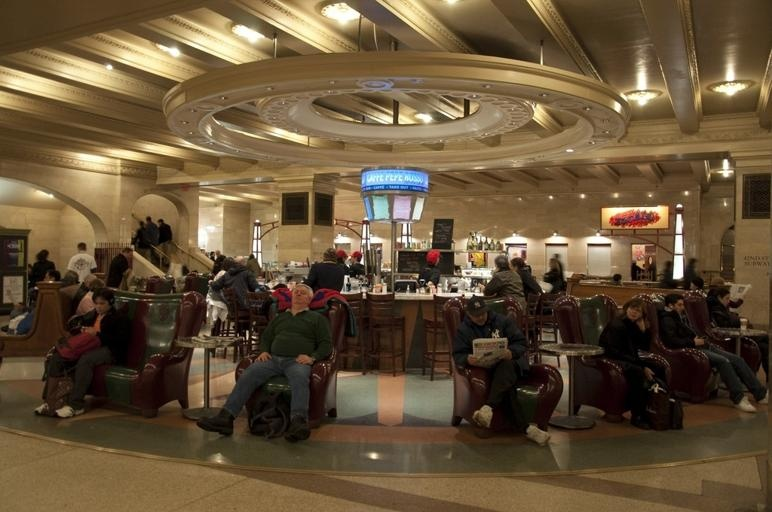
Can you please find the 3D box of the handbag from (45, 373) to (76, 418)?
[{"bbox_3d":[-3.926,1.695,6.387,0.459,0.460,0.288,10,-23,-32],"label":"handbag"}]

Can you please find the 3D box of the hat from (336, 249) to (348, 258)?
[{"bbox_3d":[-0.803,-0.047,10.079,0.250,0.114,0.170,-3,9,-34],"label":"hat"}]

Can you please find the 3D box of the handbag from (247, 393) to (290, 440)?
[{"bbox_3d":[-1.315,1.774,5.956,0.521,0.445,0.204,1,-20,17],"label":"handbag"}]

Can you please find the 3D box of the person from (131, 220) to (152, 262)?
[{"bbox_3d":[-8.963,-0.487,19.394,0.570,1.098,0.735,-7,12,-41],"label":"person"}]

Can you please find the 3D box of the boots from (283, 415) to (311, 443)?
[{"bbox_3d":[-0.964,1.886,5.823,0.241,0.221,0.235,0,9,-2],"label":"boots"}]

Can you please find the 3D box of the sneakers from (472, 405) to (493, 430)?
[{"bbox_3d":[1.055,1.740,5.738,0.174,0.240,0.213,4,9,17],"label":"sneakers"}]

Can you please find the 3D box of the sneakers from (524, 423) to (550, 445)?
[{"bbox_3d":[1.629,1.937,5.788,0.258,0.174,0.099,19,-27,47],"label":"sneakers"}]

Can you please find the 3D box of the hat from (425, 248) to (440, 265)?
[{"bbox_3d":[0.893,0.028,10.399,0.306,0.281,0.310,-1,3,0],"label":"hat"}]

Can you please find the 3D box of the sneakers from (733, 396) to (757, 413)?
[{"bbox_3d":[4.695,1.936,6.920,0.162,0.113,0.272,-1,-6,1],"label":"sneakers"}]

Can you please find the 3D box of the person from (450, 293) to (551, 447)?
[{"bbox_3d":[1.289,1.299,6.039,0.958,1.385,0.991,0,9,-6],"label":"person"}]

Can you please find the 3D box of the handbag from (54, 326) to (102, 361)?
[{"bbox_3d":[-3.776,1.080,6.572,0.468,0.169,0.434,-6,11,16],"label":"handbag"}]

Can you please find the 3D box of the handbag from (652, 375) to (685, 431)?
[{"bbox_3d":[3.259,1.755,6.161,0.361,0.519,0.146,4,10,19],"label":"handbag"}]

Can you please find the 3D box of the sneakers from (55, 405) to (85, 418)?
[{"bbox_3d":[-3.768,1.849,6.322,0.289,0.099,0.106,13,-53,-35],"label":"sneakers"}]
